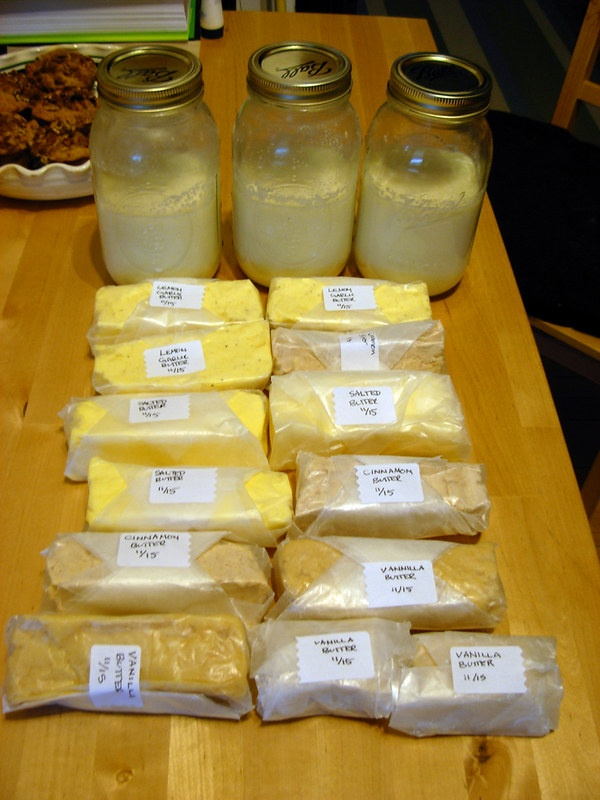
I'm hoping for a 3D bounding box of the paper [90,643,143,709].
[{"bbox_3d":[-0.182,0.274,0.664,0.051,0.044,0.045,0,47,-5],"label":"paper"}]

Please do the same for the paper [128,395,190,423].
[{"bbox_3d":[-0.178,0.013,0.841,0.060,0.012,0.034,-4,52,-6],"label":"paper"}]

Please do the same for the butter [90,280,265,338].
[{"bbox_3d":[-0.186,-0.131,0.944,0.236,0.063,0.090,-5,69,-10],"label":"butter"}]

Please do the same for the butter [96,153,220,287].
[{"bbox_3d":[-0.221,-0.287,0.998,0.190,0.199,0.195,1,33,-7],"label":"butter"}]

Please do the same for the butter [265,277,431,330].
[{"bbox_3d":[0.067,-0.142,0.969,0.215,0.050,0.097,2,55,-6],"label":"butter"}]

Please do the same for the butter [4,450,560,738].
[{"bbox_3d":[-0.006,0.252,0.753,0.388,0.080,0.243,4,59,0],"label":"butter"}]

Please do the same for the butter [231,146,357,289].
[{"bbox_3d":[-0.006,-0.295,1.013,0.174,0.190,0.178,1,55,-1],"label":"butter"}]

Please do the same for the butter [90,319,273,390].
[{"bbox_3d":[-0.161,-0.056,0.919,0.222,0.051,0.100,-3,56,-2],"label":"butter"}]

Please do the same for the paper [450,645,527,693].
[{"bbox_3d":[0.192,0.277,0.681,0.078,0.006,0.048,1,46,-3],"label":"paper"}]

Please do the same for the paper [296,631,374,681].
[{"bbox_3d":[0.034,0.260,0.672,0.076,0.012,0.046,-1,46,-5],"label":"paper"}]

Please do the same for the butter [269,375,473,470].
[{"bbox_3d":[0.092,0.018,0.890,0.245,0.070,0.134,-1,42,0],"label":"butter"}]
